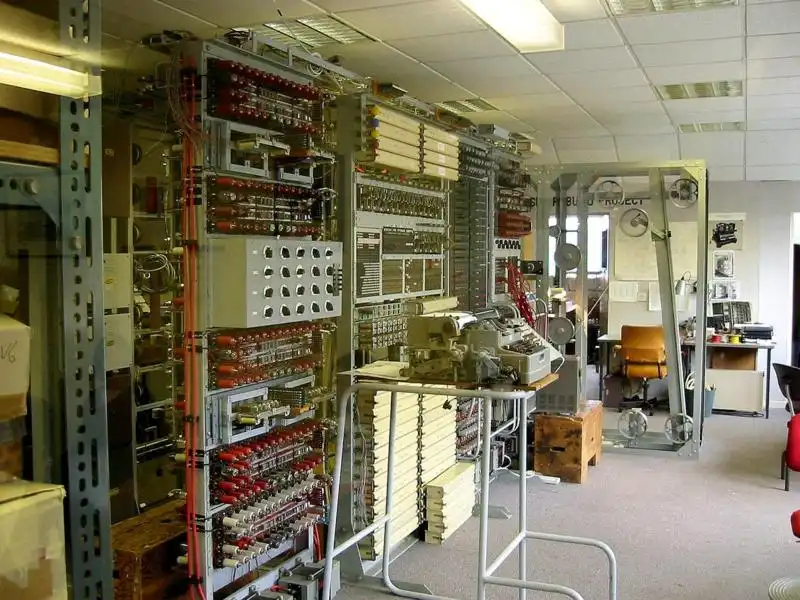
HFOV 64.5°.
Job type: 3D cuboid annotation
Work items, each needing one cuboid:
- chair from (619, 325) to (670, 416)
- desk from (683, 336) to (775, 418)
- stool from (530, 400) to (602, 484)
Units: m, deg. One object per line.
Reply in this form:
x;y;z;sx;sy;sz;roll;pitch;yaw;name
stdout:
3.388;0.934;8.783;0.700;1.146;0.765;-4;-14;37;chair
4.844;1.197;9.393;1.148;1.041;0.852;3;-2;-43;desk
1.768;1.412;6.621;0.618;0.736;1.162;-1;1;26;stool
